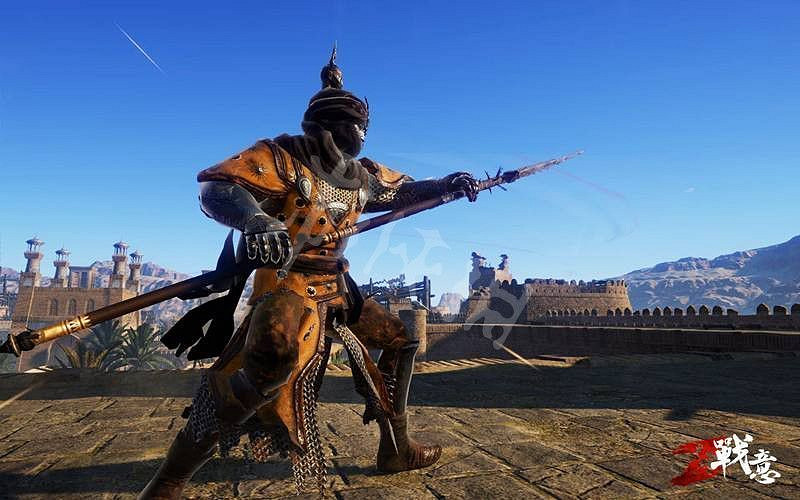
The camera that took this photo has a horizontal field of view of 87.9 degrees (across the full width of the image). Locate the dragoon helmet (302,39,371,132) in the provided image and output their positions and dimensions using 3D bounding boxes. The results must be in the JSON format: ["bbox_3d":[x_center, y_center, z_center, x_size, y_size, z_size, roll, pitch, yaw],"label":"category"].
[{"bbox_3d":[-0.489,-1.211,3.151,0.500,0.599,0.593,-3,9,-12],"label":"dragoon helmet"}]

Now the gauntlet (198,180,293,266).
[{"bbox_3d":[-0.938,-0.216,2.614,0.275,0.194,0.653,6,-15,31],"label":"gauntlet"}]
